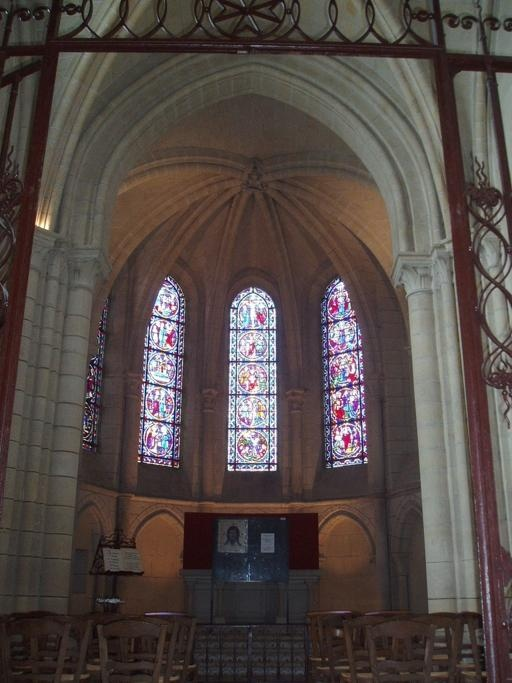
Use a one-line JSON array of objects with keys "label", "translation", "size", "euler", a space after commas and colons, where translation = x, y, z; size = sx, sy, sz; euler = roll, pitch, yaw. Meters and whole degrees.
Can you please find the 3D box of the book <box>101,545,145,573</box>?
[{"label": "book", "translation": [-1.944, 3.121, 9.416], "size": [0.300, 0.379, 0.630], "euler": [-18, -28, 37]}]
